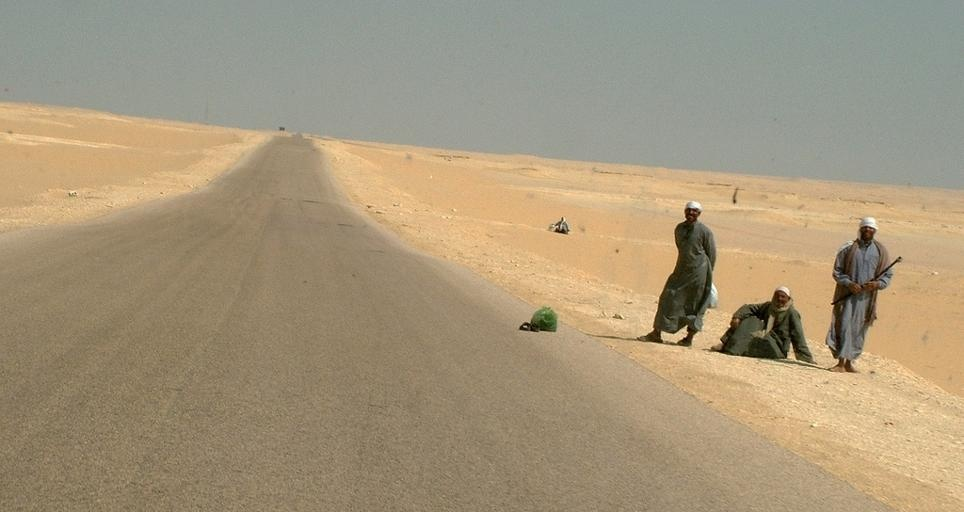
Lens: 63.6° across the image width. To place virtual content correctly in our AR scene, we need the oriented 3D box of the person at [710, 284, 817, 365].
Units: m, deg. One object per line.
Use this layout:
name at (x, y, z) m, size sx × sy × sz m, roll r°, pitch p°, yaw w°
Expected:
person at (5.918, 1.377, 16.074) m, size 2.168 × 1.320 × 1.037 m, roll 7°, pitch 9°, yaw 33°

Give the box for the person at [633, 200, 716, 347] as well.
person at (4.131, 0.376, 15.681) m, size 1.098 × 2.982 × 1.272 m, roll 11°, pitch 1°, yaw 19°

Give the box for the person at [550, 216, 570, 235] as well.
person at (3.071, -1.168, 30.315) m, size 0.745 × 0.406 × 0.958 m, roll 2°, pitch 9°, yaw 32°

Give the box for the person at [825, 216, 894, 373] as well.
person at (7.578, 0.776, 15.713) m, size 1.016 × 3.294 × 0.573 m, roll 11°, pitch 1°, yaw 18°
